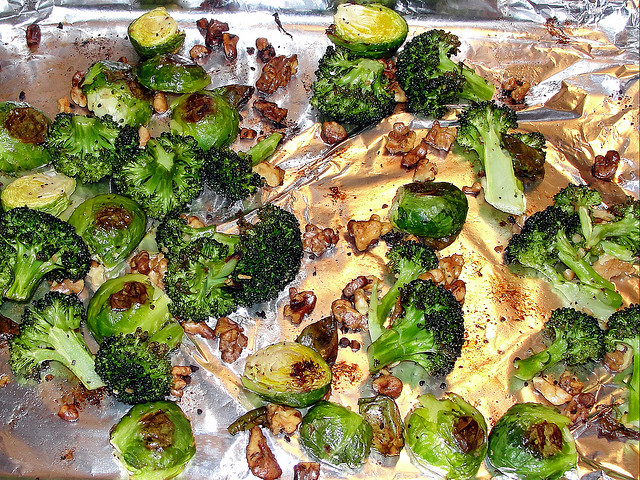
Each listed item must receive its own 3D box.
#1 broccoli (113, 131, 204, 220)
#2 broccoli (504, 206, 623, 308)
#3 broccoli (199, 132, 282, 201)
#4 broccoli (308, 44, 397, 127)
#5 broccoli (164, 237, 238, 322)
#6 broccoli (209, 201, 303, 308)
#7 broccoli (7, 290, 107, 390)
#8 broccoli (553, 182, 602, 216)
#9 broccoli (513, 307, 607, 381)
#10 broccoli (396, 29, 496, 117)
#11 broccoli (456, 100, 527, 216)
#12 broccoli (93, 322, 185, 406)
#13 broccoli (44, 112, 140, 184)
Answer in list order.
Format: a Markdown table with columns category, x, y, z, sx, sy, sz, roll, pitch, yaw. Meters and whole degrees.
| category | x | y | z | sx | sy | sz | roll | pitch | yaw |
| --- | --- | --- | --- | --- | --- | --- | --- | --- | --- |
| broccoli | -1.109 | -0.462 | 4.012 | 0.605 | 0.341 | 0.455 | -31 | 69 | -22 |
| broccoli | 1.795 | 0.078 | 4.063 | 0.811 | 0.228 | 0.450 | 26 | 61 | 7 |
| broccoli | -0.536 | -0.523 | 4.162 | 0.526 | 0.243 | 0.386 | -42 | 74 | -15 |
| broccoli | 0.228 | -1.169 | 4.357 | 0.580 | 0.226 | 0.582 | -15 | 74 | -13 |
| broccoli | -0.794 | 0.231 | 3.763 | 0.487 | 0.159 | 0.537 | 11 | 92 | -12 |
| broccoli | -0.524 | 0.098 | 4.001 | 0.699 | 0.381 | 0.568 | 12 | 62 | 36 |
| broccoli | -1.747 | 0.731 | 3.715 | 0.530 | 0.303 | 0.661 | -24 | 67 | -19 |
| broccoli | 1.891 | -0.335 | 4.235 | 0.277 | 0.296 | 0.239 | -4 | 109 | -3 |
| broccoli | 1.607 | 0.718 | 3.948 | 0.574 | 0.260 | 0.424 | -31 | 88 | 0 |
| broccoli | 0.964 | -1.323 | 4.452 | 0.690 | 0.383 | 0.558 | -14 | 64 | -15 |
| broccoli | 1.301 | -0.617 | 4.313 | 0.463 | 0.335 | 0.859 | -5 | 64 | -14 |
| broccoli | -1.210 | 0.831 | 3.793 | 0.467 | 0.178 | 0.533 | 49 | 55 | -5 |
| broccoli | -1.667 | -0.604 | 4.170 | 0.480 | 0.250 | 0.579 | -40 | 68 | -18 |
